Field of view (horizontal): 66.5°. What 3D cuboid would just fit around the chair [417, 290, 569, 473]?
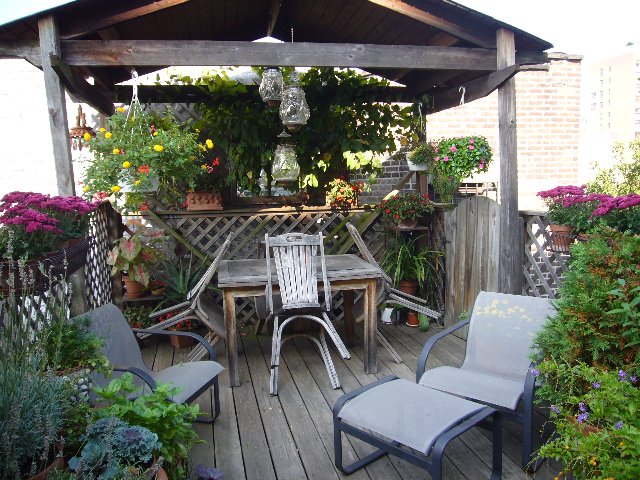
[{"bbox_3d":[1.227,0.868,3.546,0.773,1.027,1.043,3,7,36],"label":"chair"}]

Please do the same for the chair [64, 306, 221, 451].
[{"bbox_3d":[-1.172,0.819,3.266,0.794,0.819,0.650,6,10,17],"label":"chair"}]

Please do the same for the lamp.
[{"bbox_3d":[-0.378,-1.164,5.079,0.456,1.196,1.151,-2,10,-5],"label":"lamp"}]

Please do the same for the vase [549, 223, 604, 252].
[{"bbox_3d":[1.910,-0.014,3.752,0.238,0.219,0.272,1,-2,0],"label":"vase"}]

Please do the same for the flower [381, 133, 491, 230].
[{"bbox_3d":[1.206,-0.662,5.124,0.874,0.735,1.030,-3,8,-14],"label":"flower"}]
